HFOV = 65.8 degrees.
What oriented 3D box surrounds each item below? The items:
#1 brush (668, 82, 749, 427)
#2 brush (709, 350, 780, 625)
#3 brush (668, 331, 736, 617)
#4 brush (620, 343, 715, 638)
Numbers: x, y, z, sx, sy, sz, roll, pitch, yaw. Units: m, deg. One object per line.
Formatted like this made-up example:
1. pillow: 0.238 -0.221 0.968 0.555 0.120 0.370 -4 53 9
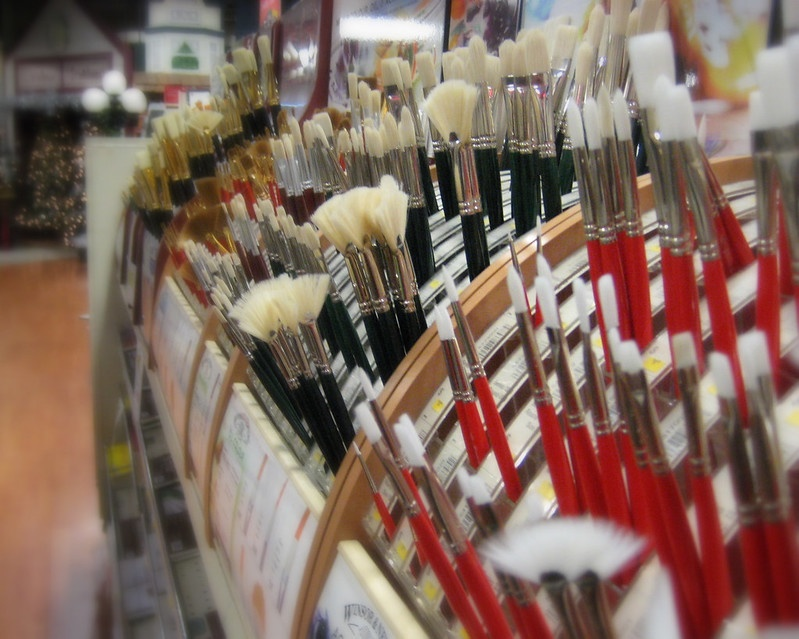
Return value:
1. brush: 0.229 -0.034 0.457 0.026 0.279 0.022 -8 29 35
2. brush: 0.233 0.120 0.417 0.019 0.213 0.020 -19 16 -34
3. brush: 0.226 0.124 0.461 0.019 0.216 0.024 -14 21 -20
4. brush: 0.203 0.141 0.469 0.025 0.243 0.024 -15 11 -10
